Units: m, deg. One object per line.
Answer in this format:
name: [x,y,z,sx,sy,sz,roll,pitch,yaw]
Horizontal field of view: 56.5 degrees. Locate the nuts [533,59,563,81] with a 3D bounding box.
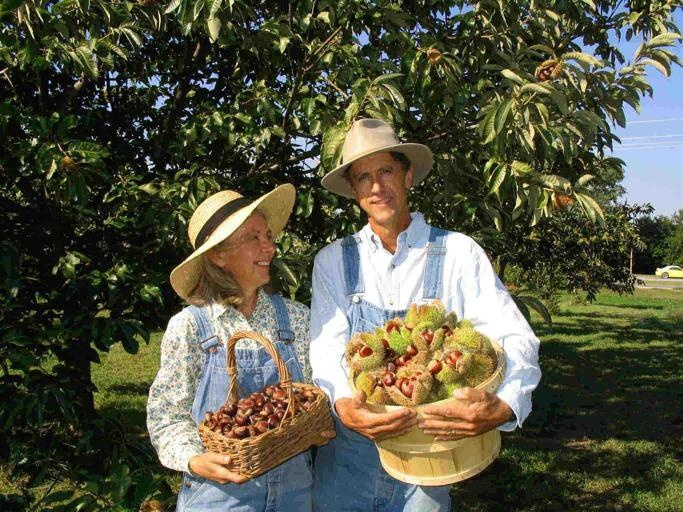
nuts: [1.313,-1.166,4.030,0.163,0.119,0.266,4,6,18]

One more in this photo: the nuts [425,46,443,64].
nuts: [0.611,-1.304,4.157,0.100,0.100,0.056,3,7,7]

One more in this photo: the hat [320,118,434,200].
hat: [0.231,-0.625,4.076,0.559,0.507,0.718,1,11,-11]

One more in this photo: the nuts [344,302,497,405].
nuts: [0.365,0.534,3.572,0.649,0.548,0.990,1,5,-9]

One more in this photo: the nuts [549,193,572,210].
nuts: [1.432,-0.378,4.177,0.123,0.062,0.123,7,8,-40]

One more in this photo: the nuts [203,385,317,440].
nuts: [-0.409,0.798,3.306,0.465,0.163,0.286,-22,7,-35]

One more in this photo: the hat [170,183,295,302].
hat: [-0.612,-0.169,3.817,0.626,0.787,0.783,-3,12,-35]

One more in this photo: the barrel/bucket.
barrel/bucket: [0.521,0.881,3.406,0.801,0.776,0.336,1,7,-7]
